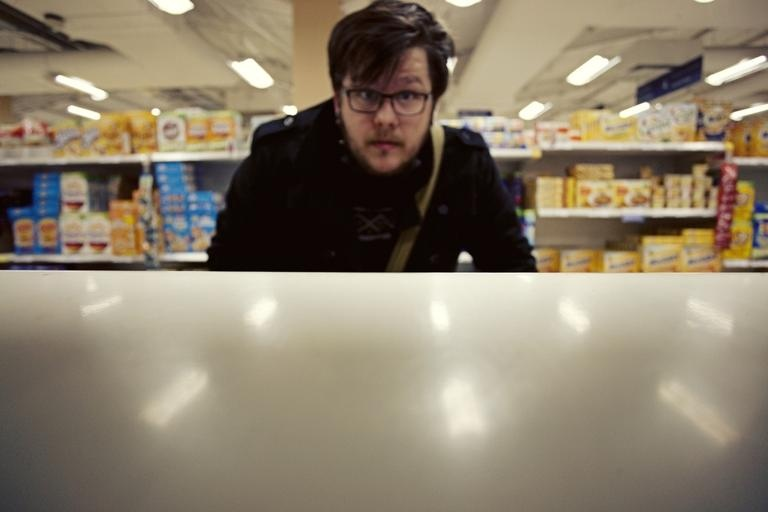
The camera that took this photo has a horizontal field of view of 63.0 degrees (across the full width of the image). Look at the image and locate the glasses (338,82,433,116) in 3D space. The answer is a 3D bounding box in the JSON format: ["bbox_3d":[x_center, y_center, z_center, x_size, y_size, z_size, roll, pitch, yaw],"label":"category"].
[{"bbox_3d":[0.008,-0.346,1.406,0.186,0.057,0.032,2,7,-3],"label":"glasses"}]
